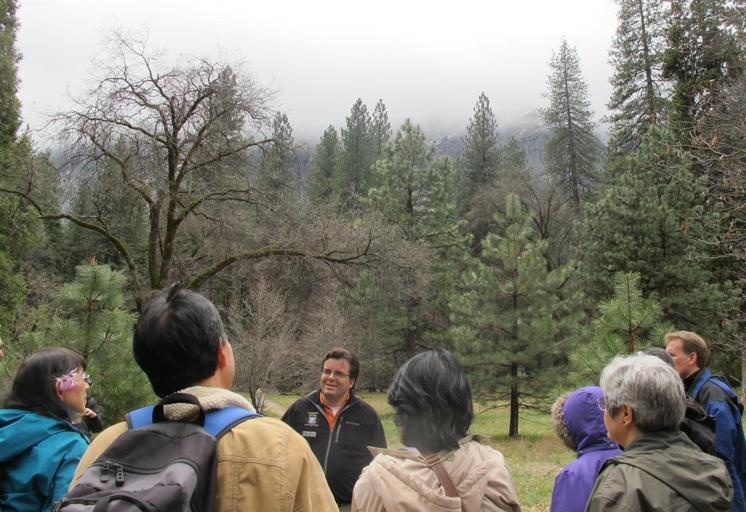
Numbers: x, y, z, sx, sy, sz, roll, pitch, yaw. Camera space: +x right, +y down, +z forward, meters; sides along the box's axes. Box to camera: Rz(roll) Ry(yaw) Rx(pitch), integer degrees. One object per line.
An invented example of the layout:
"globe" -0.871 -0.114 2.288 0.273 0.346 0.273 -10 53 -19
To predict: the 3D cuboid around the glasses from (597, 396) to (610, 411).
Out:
"glasses" 3.625 2.370 10.831 0.083 0.223 0.641 -1 -6 13
